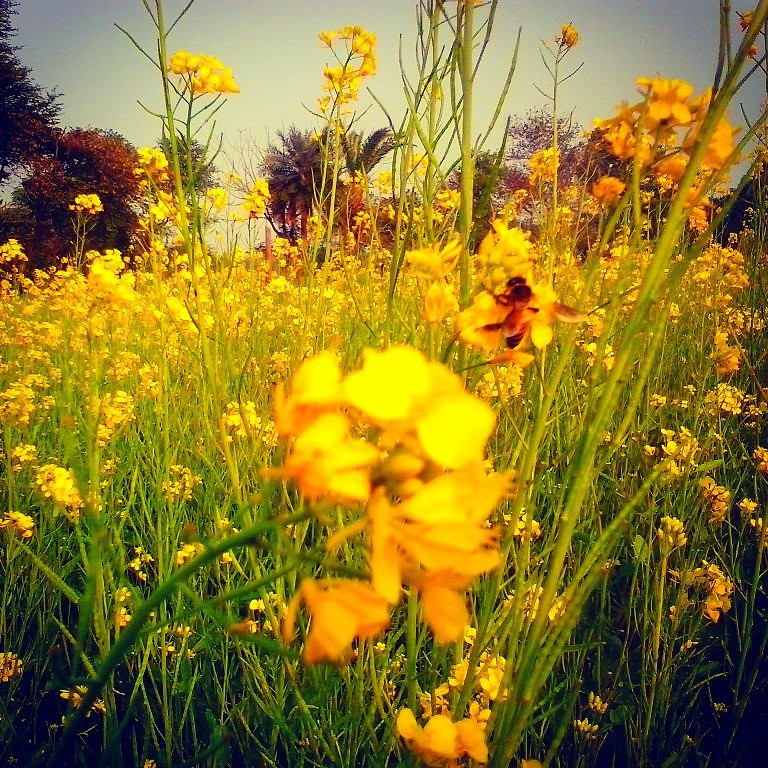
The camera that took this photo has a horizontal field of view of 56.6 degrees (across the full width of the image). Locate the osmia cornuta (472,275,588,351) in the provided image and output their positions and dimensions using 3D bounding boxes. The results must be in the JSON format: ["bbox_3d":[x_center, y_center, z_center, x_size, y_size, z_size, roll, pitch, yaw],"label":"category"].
[{"bbox_3d":[0.141,-0.064,0.675,0.098,0.070,0.047,17,12,40],"label":"osmia cornuta"}]
